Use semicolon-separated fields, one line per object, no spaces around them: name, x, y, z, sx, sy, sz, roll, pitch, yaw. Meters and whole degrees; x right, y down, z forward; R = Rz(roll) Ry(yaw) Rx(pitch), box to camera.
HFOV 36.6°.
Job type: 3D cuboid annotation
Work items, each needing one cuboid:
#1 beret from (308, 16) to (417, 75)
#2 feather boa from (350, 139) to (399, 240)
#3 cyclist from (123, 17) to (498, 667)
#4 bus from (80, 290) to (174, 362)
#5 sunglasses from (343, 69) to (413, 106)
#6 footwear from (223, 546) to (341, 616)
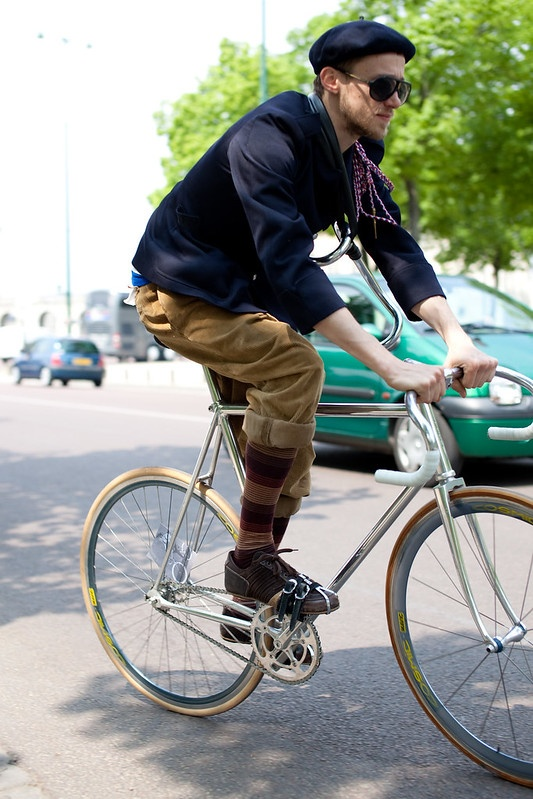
beret;0.221;-0.847;1.979;0.173;0.082;0.179;-28;26;-37
feather boa;0.296;-0.593;2.284;0.112;0.271;0.024;-19;2;-1
cyclist;0.165;-0.093;2.161;0.705;1.673;0.930;-4;3;-38
bus;-7.289;-4.147;48.356;4.332;4.016;8.734;0;1;29
sunglasses;0.277;-0.745;1.954;0.099;0.043;0.127;6;8;-41
footwear;0.012;0.467;2.133;0.387;0.139;0.134;-1;2;43
